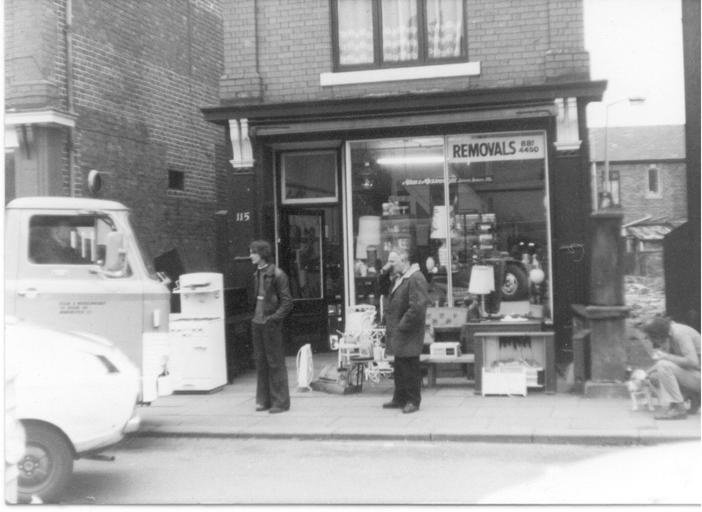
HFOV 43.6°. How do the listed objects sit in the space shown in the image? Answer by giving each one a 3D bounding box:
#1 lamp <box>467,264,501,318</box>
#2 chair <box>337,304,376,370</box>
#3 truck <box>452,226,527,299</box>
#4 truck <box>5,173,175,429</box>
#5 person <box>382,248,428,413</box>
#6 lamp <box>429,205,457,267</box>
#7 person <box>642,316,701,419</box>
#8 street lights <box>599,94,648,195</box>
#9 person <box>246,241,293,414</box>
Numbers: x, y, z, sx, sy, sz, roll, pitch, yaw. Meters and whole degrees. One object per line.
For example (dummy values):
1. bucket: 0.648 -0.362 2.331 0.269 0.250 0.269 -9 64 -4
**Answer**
1. lamp: 2.313 0.590 15.525 0.447 0.859 0.808 0 10 16
2. chair: 0.104 1.355 14.345 0.567 0.802 0.604 -2 9 1
3. truck: 2.515 0.152 16.293 1.563 1.304 0.903 1 -1 7
4. truck: -4.127 0.290 13.680 2.768 2.857 2.865 -1 1 -6
5. person: 0.814 1.111 13.041 0.591 2.374 0.651 -9 11 -37
6. lamp: 1.704 -0.383 16.271 0.493 1.147 0.495 10 4 36
7. person: 4.757 1.643 12.954 1.189 1.844 1.004 0 -7 19
8. street lights: 4.552 -1.737 14.914 0.837 1.974 0.361 1 -9 26
9. person: -1.225 1.061 13.219 0.651 2.535 0.557 6 13 43
